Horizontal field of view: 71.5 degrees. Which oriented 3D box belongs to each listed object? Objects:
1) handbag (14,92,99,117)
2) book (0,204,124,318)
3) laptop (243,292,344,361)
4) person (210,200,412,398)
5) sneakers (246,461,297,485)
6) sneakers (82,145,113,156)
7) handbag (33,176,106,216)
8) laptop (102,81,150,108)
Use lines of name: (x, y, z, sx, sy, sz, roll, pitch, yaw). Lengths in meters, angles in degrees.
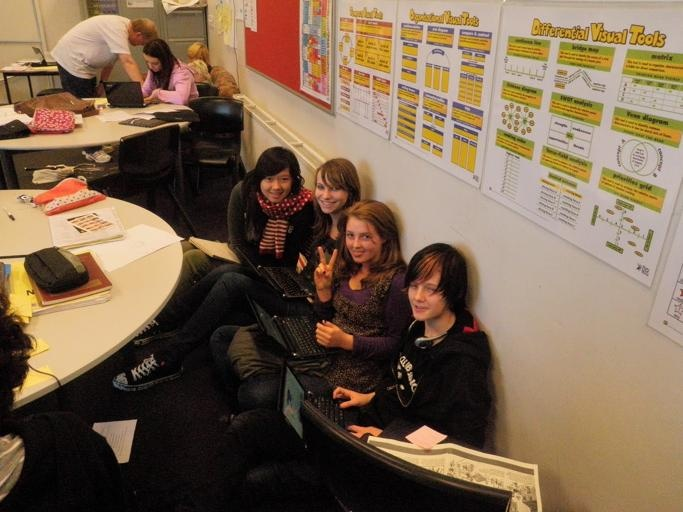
handbag: (-2.243, -1.216, 3.764, 0.381, 0.110, 0.363, -11, 28, -29)
book: (-0.996, 0.047, 1.798, 0.436, 0.101, 0.437, -10, 34, -27)
laptop: (-0.215, 0.350, 2.128, 0.273, 0.120, 0.326, -9, 33, -24)
person: (-0.333, 0.139, 2.325, 1.004, 1.100, 0.656, 4, 12, -16)
sneakers: (-0.274, 0.842, 1.841, 0.164, 0.059, 0.099, -8, 12, -2)
sneakers: (-1.923, -0.857, 3.759, 0.194, 0.070, 0.135, -8, 17, -36)
handbag: (-1.408, -0.314, 2.488, 0.215, 0.088, 0.285, 29, 39, 35)
laptop: (-1.867, -1.433, 4.156, 0.357, 0.219, 0.261, 5, 36, 12)
